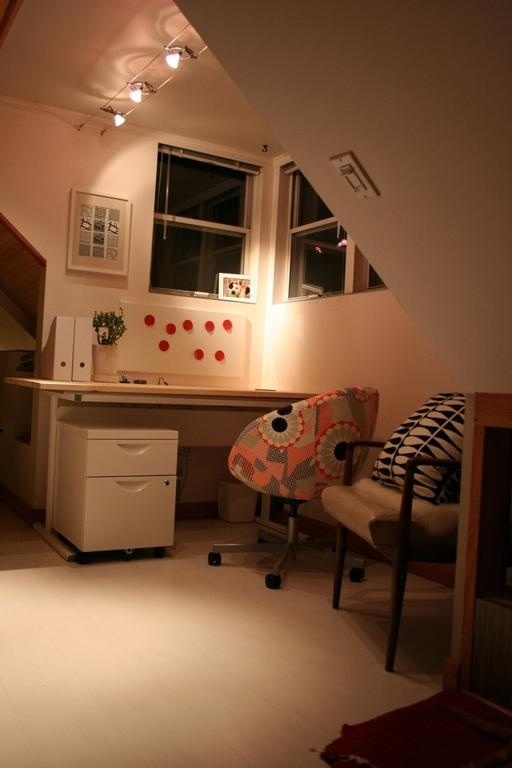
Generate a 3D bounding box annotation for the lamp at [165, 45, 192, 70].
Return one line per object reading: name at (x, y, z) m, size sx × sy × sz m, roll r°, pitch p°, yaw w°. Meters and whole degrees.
lamp at (-0.369, -1.562, 2.747) m, size 0.111 × 0.119 × 0.098 m, roll -12°, pitch 24°, yaw -19°

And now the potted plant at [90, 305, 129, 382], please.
potted plant at (-0.904, -0.249, 3.499) m, size 0.213 × 0.503 × 0.336 m, roll 4°, pitch -4°, yaw -13°

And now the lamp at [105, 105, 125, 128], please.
lamp at (-0.849, -1.616, 3.439) m, size 0.093 × 0.088 × 0.090 m, roll 38°, pitch 11°, yaw -23°

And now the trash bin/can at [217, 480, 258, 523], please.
trash bin/can at (-0.120, 0.764, 3.811) m, size 0.221 × 0.263 × 0.273 m, roll 7°, pitch 3°, yaw 0°

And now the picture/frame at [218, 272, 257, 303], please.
picture/frame at (-0.142, -0.687, 4.125) m, size 0.229 × 0.171 × 0.023 m, roll 3°, pitch -7°, yaw -24°

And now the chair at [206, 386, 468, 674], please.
chair at (0.378, 0.425, 2.152) m, size 0.592 × 0.845 × 1.190 m, roll 4°, pitch -4°, yaw -23°

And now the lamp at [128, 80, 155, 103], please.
lamp at (-0.626, -1.553, 3.089) m, size 0.127 × 0.083 × 0.158 m, roll -7°, pitch 11°, yaw -43°
